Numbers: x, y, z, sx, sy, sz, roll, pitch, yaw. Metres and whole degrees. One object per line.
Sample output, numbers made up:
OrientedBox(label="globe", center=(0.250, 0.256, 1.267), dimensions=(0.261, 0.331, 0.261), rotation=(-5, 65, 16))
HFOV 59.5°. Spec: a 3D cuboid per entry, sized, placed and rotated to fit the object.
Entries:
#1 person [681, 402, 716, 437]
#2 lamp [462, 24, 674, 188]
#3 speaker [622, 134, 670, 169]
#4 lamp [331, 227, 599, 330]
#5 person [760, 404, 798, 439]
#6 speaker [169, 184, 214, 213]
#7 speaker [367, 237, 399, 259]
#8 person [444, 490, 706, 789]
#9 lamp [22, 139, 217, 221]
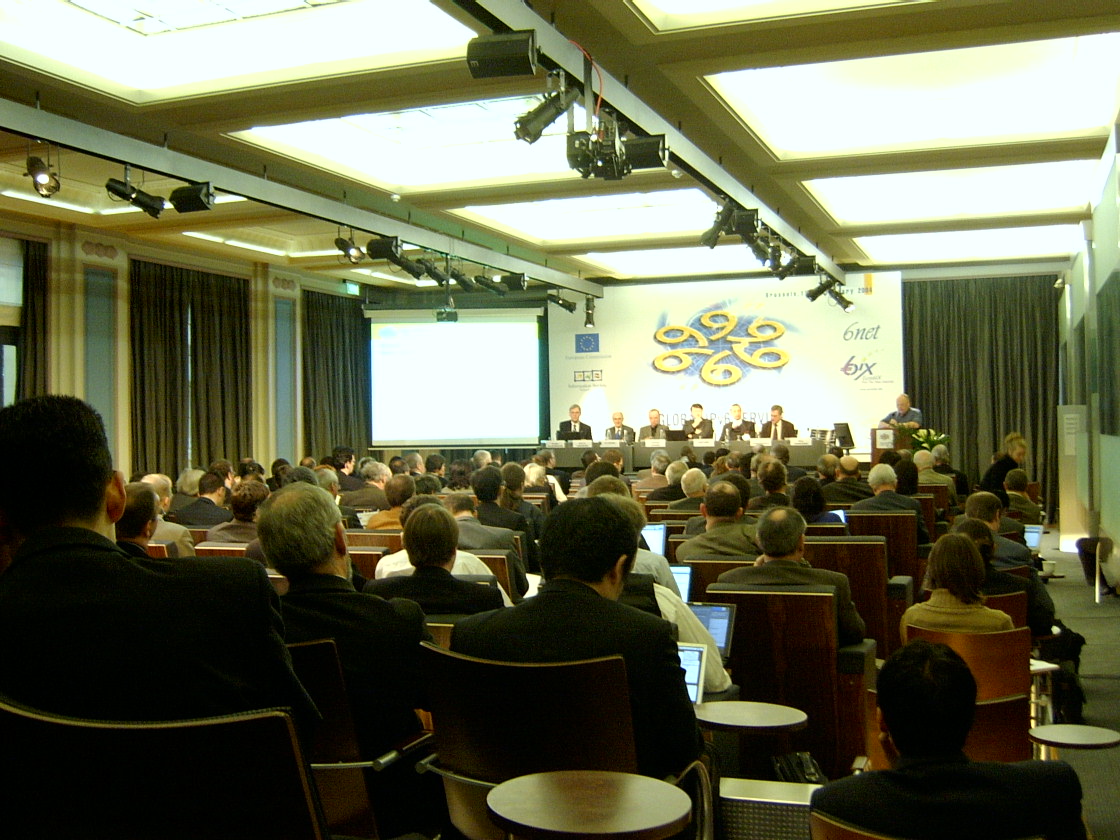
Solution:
OrientedBox(label="person", center=(2.179, -0.028, 15.285), dimensions=(0.402, 0.912, 0.330), rotation=(-4, -25, 4))
OrientedBox(label="lamp", center=(0.090, -1.991, 6.488), dimensions=(0.791, 0.498, 1.495), rotation=(-4, -22, 43))
OrientedBox(label="speaker", center=(0.641, -2.006, 7.335), dimensions=(0.361, 0.247, 0.269), rotation=(4, 6, 19))
OrientedBox(label="lamp", center=(-1.076, -1.908, 14.799), dimensions=(3.788, 0.890, 1.196), rotation=(14, 10, 37))
OrientedBox(label="person", center=(3.337, 0.009, 14.883), dimensions=(0.460, 0.889, 0.321), rotation=(-4, -7, 40))
OrientedBox(label="speaker", center=(-3.178, -1.892, 8.303), dimensions=(0.386, 0.268, 0.207), rotation=(-4, -8, 4))
OrientedBox(label="speaker", center=(-1.921, -1.859, 10.594), dimensions=(0.330, 0.223, 0.245), rotation=(2, 6, 16))
OrientedBox(label="person", center=(0.054, 0.606, 2.827), dimensions=(0.771, 0.745, 0.428), rotation=(-1, 4, 34))
OrientedBox(label="lamp", center=(-3.633, -1.925, 8.096), dimensions=(1.369, 0.469, 0.303), rotation=(10, 8, -14))
